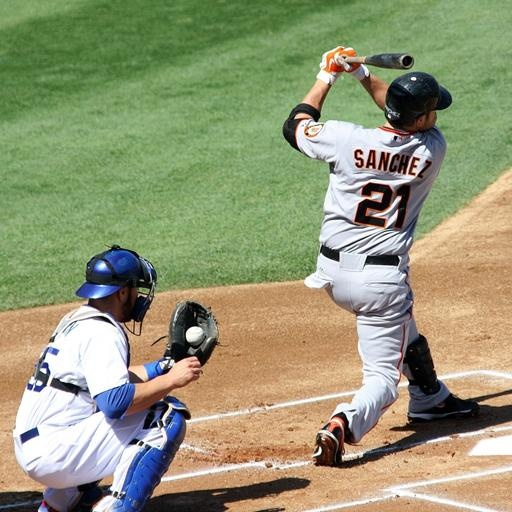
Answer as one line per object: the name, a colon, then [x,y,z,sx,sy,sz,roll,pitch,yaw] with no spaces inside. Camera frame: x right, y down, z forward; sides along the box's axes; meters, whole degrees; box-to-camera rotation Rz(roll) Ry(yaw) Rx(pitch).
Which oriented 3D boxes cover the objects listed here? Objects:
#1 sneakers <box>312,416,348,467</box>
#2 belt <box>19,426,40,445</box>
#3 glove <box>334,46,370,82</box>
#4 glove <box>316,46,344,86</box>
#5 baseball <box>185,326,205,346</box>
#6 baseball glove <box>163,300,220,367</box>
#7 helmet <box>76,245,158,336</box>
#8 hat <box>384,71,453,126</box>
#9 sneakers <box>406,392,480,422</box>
sneakers: [0.464,1.097,5.890,0.142,0.374,0.173,27,50,31]
belt: [-1.235,0.985,5.424,0.105,0.060,0.010,-25,-15,9]
glove: [0.632,-1.293,6.512,0.094,0.248,0.182,-50,7,25]
glove: [0.496,-1.278,6.587,0.187,0.114,0.262,15,68,29]
baseball: [-0.353,0.456,5.727,0.118,0.095,0.111,-2,7,25]
baseball glove: [-0.369,0.453,5.763,0.350,0.363,0.138,15,-13,-28]
helmet: [-0.822,0.139,5.857,0.628,0.488,0.445,-7,12,-43]
hat: [1.006,-0.980,6.037,0.457,0.237,0.272,-27,49,-16]
sneakers: [1.252,1.003,6.649,0.533,0.199,0.169,-6,2,-1]
